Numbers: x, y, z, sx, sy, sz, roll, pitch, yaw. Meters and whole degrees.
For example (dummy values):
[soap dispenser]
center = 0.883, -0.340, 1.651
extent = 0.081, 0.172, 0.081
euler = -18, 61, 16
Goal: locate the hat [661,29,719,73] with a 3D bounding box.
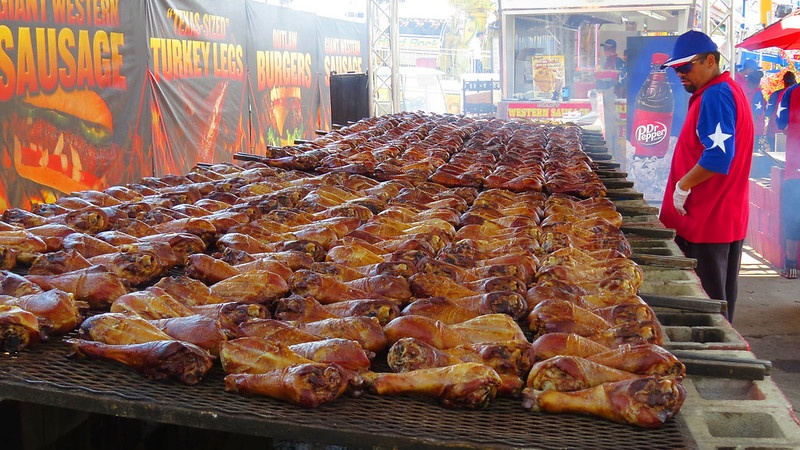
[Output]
[hat]
center = 2.484, -1.508, 5.112
extent = 0.432, 0.212, 0.275
euler = -11, 17, 4

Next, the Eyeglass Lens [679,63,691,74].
[Eyeglass Lens]
center = 2.457, -1.356, 5.086
extent = 0.069, 0.025, 0.072
euler = 1, 44, 46

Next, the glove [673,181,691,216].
[glove]
center = 2.436, -0.220, 5.106
extent = 0.188, 0.240, 0.130
euler = 18, -8, -40
